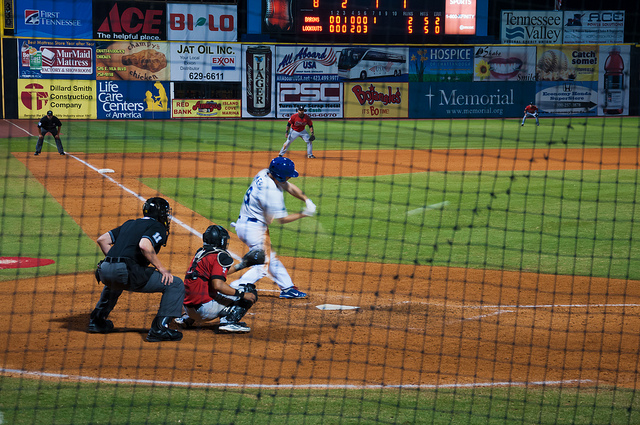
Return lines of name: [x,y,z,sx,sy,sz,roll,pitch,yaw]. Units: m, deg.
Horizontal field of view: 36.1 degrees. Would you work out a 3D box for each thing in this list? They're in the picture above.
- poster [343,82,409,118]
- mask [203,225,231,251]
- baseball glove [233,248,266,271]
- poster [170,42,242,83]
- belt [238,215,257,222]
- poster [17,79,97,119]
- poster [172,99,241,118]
poster: [3.218,-6.666,57.665,0.183,2.119,5.821,5,6,44]
mask: [-2.612,0.619,24.482,0.885,0.526,0.603,-3,12,-29]
baseball glove: [-1.734,1.147,24.547,0.778,0.345,0.476,-36,65,-20]
poster: [-6.618,-8.525,55.885,3.979,2.285,2.032,-1,10,-6]
belt: [-1.904,0.177,25.567,0.458,0.136,0.099,3,11,21]
poster: [-14.588,-6.198,54.017,4.517,2.199,2.278,1,10,3]
poster: [-6.709,-5.953,56.062,4.742,0.672,0.051,-1,-1,-25]
